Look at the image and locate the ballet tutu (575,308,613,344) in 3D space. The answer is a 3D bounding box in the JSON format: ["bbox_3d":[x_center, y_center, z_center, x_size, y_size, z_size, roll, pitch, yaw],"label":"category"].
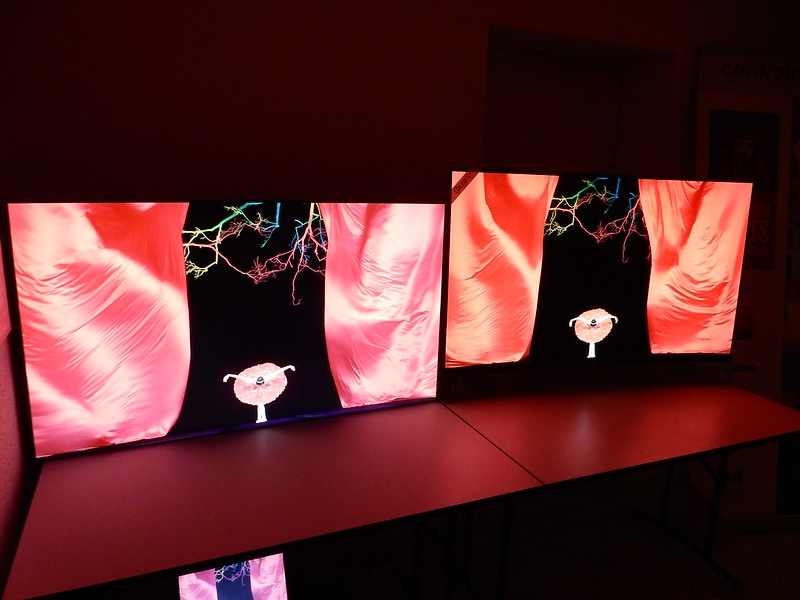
[{"bbox_3d":[0.659,0.084,2.109,0.123,0.124,0.042,5,3,-10],"label":"ballet tutu"}]

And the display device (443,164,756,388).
[{"bbox_3d":[0.658,-0.097,2.082,1.034,0.638,0.016,-1,11,-8],"label":"display device"}]

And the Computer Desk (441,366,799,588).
[{"bbox_3d":[0.685,0.697,2.274,1.117,0.758,0.590,-5,36,-9],"label":"Computer Desk"}]
